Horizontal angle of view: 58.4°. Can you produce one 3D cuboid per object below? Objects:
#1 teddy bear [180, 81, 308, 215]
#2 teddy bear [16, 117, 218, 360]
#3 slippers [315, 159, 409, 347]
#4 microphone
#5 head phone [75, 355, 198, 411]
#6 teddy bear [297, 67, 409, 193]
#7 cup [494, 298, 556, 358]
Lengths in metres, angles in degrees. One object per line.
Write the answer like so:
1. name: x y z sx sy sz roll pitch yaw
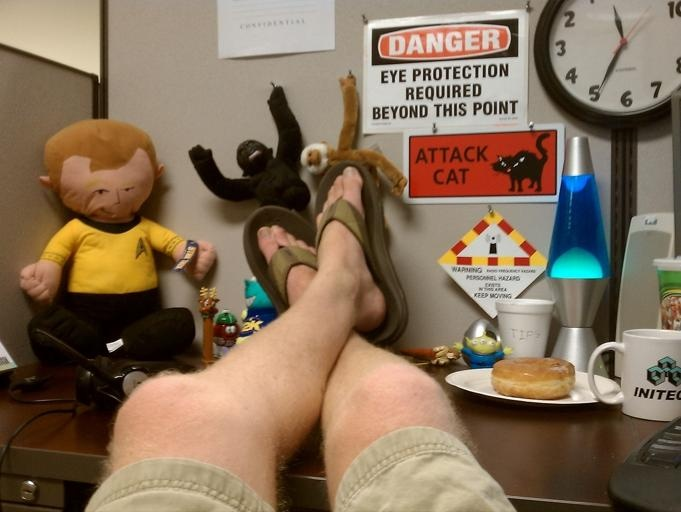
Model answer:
1. teddy bear: -0.220 -0.268 1.480 0.217 0.193 0.132 -37 -27 -4
2. teddy bear: -0.523 -0.045 1.430 0.391 0.597 0.294 0 -5 -40
3. slippers: 0.074 -0.015 1.476 0.163 0.476 0.115 -18 -7 24
4. microphone: -0.534 0.199 1.211 0.021 0.181 0.016 -36 24 30
5. head phone: -0.380 0.213 1.091 0.159 0.071 0.121 -1 -2 1
6. teddy bear: 0.038 -0.302 1.562 0.258 0.301 0.250 2 -2 2
7. cup: 0.380 0.147 1.312 0.109 0.133 0.109 1 0 0
